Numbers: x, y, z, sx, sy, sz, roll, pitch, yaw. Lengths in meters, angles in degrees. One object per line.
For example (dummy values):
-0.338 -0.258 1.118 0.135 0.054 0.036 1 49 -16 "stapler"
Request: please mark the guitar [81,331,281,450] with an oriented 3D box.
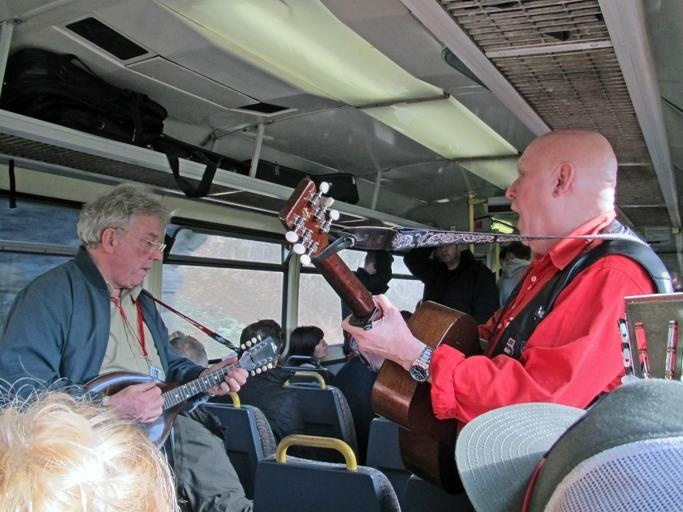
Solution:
-0.824 0.706 2.982 0.182 0.453 1.286 -16 5 41 "guitar"
